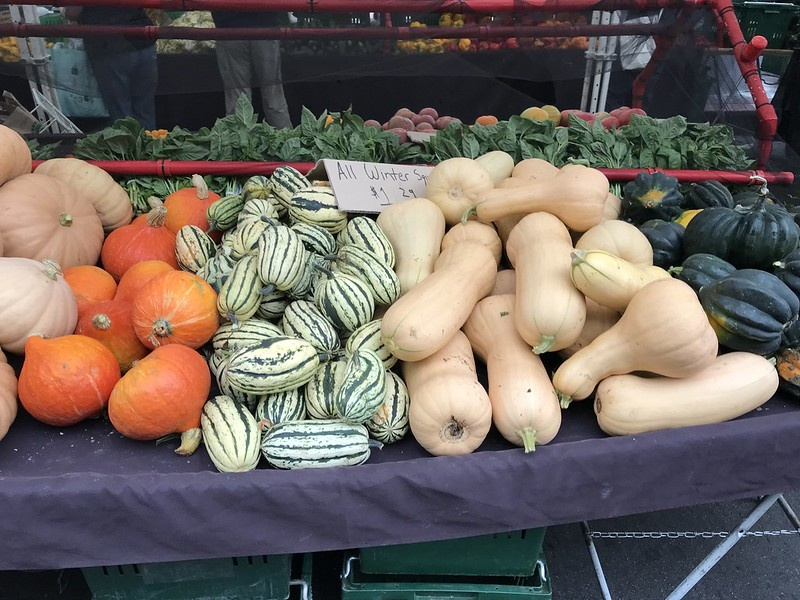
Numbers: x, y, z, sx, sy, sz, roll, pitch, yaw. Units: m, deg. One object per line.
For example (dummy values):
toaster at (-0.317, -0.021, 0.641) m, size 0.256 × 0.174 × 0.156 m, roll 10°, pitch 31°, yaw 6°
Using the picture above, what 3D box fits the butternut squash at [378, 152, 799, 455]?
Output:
butternut squash at (0.685, 0.124, 3.033) m, size 1.407 × 0.653 × 1.665 m, roll -19°, pitch 47°, yaw -14°

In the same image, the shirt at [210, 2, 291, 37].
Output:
shirt at (-1.277, -2.395, 5.576) m, size 0.343 × 0.091 × 0.337 m, roll 2°, pitch 9°, yaw 11°

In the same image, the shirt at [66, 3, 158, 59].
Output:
shirt at (-2.545, -2.388, 5.750) m, size 0.420 × 0.452 × 0.551 m, roll -6°, pitch 25°, yaw -14°

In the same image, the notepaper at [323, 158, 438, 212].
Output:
notepaper at (-0.148, -0.651, 3.631) m, size 0.767 × 0.318 × 0.036 m, roll 2°, pitch -20°, yaw -38°
